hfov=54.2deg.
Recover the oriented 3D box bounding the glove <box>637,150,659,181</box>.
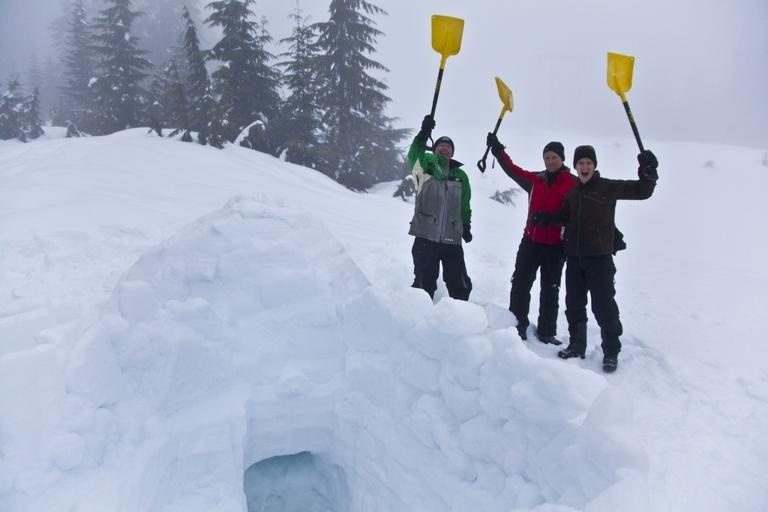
[{"bbox_3d":[4.526,-1.536,12.877,0.324,0.508,0.239,11,14,30],"label":"glove"}]

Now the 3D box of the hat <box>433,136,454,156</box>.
[{"bbox_3d":[1.071,-1.966,13.621,0.385,0.385,0.484,4,13,1],"label":"hat"}]

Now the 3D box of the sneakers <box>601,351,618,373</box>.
[{"bbox_3d":[3.936,1.862,13.044,0.152,0.192,0.449,5,14,14],"label":"sneakers"}]

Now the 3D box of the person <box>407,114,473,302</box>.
[{"bbox_3d":[1.045,-0.824,13.700,1.266,3.348,0.948,4,12,6],"label":"person"}]

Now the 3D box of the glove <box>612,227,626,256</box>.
[{"bbox_3d":[4.088,-0.253,13.356,0.427,0.459,0.151,-6,3,-39],"label":"glove"}]

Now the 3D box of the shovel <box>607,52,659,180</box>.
[{"bbox_3d":[4.614,-2.712,14.022,0.584,0.335,2.449,30,-12,41],"label":"shovel"}]

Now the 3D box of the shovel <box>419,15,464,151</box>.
[{"bbox_3d":[1.083,-3.459,14.707,0.682,0.319,2.664,9,-32,-1],"label":"shovel"}]

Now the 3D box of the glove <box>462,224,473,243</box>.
[{"bbox_3d":[1.530,-0.404,14.034,0.178,0.335,0.076,0,-1,-14],"label":"glove"}]

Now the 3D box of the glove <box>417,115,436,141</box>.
[{"bbox_3d":[0.750,-2.240,13.242,0.277,0.468,0.805,2,14,-4],"label":"glove"}]
